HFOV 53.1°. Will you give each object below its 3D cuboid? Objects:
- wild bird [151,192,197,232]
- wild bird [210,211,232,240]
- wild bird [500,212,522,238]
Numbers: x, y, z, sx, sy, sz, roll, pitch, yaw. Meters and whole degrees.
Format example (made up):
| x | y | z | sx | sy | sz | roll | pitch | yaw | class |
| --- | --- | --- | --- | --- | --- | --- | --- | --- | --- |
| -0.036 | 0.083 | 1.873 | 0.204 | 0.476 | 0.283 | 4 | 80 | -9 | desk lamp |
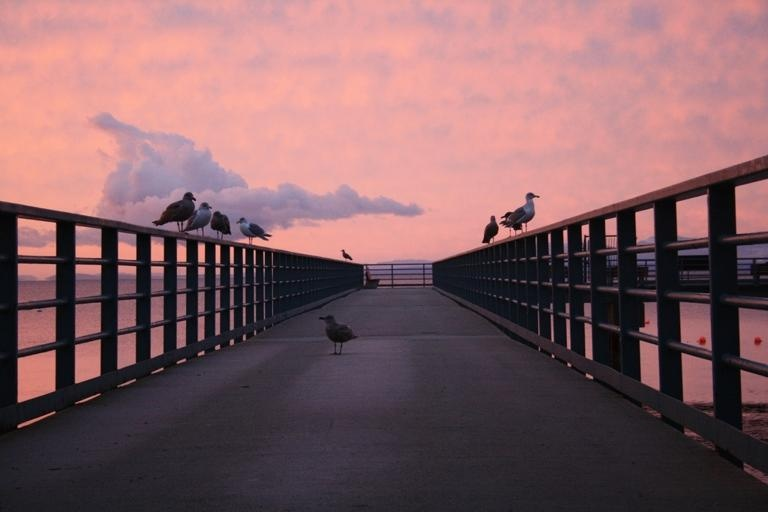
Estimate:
| x | y | z | sx | sy | sz | roll | pitch | yaw | class |
| --- | --- | --- | --- | --- | --- | --- | --- | --- | --- |
| -3.494 | -0.712 | 12.821 | 0.587 | 0.484 | 1.121 | -3 | 9 | -11 | wild bird |
| -3.356 | -0.645 | 15.684 | 0.365 | 0.499 | 0.815 | -3 | 10 | -14 | wild bird |
| 2.566 | -0.725 | 15.054 | 0.372 | 0.510 | 0.862 | 0 | 9 | 5 | wild bird |
